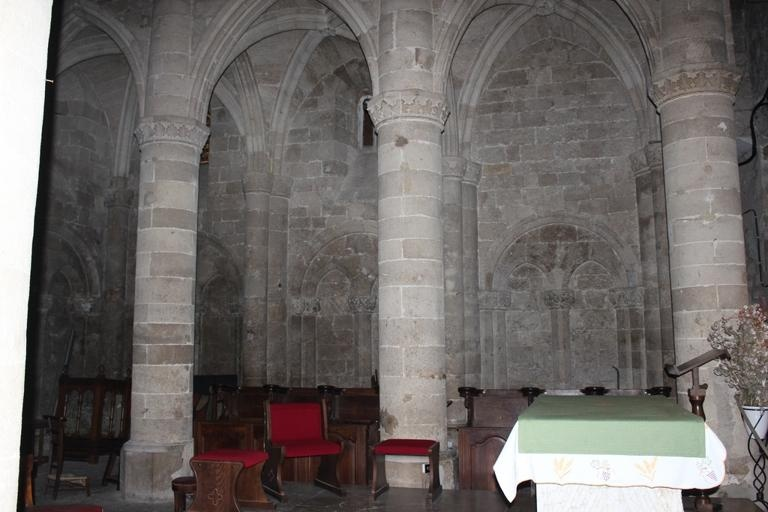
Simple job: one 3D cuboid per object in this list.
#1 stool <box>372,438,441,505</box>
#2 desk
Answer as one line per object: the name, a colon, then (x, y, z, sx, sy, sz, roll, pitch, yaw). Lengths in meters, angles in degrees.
stool: (0.307, 2.863, 10.254, 0.948, 0.746, 0.757, -2, -9, 12)
desk: (2.291, 1.920, 7.355, 1.972, 0.938, 0.848, -2, -11, 8)
